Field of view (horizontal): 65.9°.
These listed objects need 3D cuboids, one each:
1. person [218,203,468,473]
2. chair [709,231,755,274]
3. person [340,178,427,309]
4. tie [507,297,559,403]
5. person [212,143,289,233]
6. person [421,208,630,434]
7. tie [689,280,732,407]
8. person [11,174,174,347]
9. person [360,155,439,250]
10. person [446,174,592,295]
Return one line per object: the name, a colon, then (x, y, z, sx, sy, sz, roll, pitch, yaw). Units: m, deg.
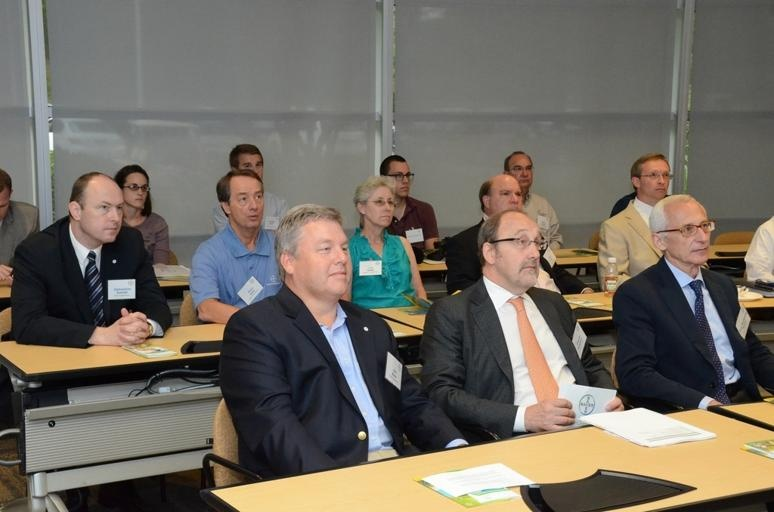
person: (-0.268, 0.428, 3.154, 1.044, 1.343, 1.200, 1, -10, -44)
chair: (3.683, -0.023, 6.344, 0.514, 0.491, 0.354, 0, -1, 26)
person: (-0.071, -0.097, 4.892, 0.762, 1.129, 0.616, -5, 11, -30)
tie: (0.749, 0.485, 3.079, 0.145, 0.526, 0.043, -14, -19, -10)
person: (-1.441, -0.613, 6.557, 0.885, 1.233, 0.713, -5, 5, -30)
person: (0.762, 0.461, 3.156, 1.089, 1.306, 0.972, -2, 3, -19)
tie: (1.816, 0.475, 3.425, 0.117, 0.777, 0.093, -8, -19, -4)
person: (-1.849, 0.090, 3.761, 0.982, 1.148, 1.237, 3, 6, -35)
person: (0.159, -0.521, 6.952, 0.896, 1.302, 0.771, -4, 15, -17)
person: (1.089, -0.136, 5.088, 1.274, 1.106, 0.936, -2, 3, -33)
